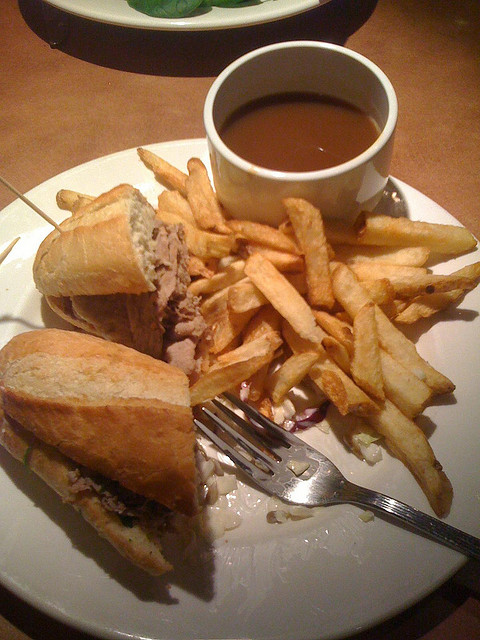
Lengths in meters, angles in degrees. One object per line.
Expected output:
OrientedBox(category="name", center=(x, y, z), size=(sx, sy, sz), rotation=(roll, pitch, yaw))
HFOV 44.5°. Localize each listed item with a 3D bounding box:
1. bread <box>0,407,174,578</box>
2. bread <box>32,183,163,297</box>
OrientedBox(category="bread", center=(-0.491, 0.536, 1.794), size=(0.545, 0.317, 0.113), rotation=(44, 75, 11))
OrientedBox(category="bread", center=(-0.531, -0.274, 2.074), size=(0.541, 0.188, 0.278), rotation=(-5, 61, 25))
